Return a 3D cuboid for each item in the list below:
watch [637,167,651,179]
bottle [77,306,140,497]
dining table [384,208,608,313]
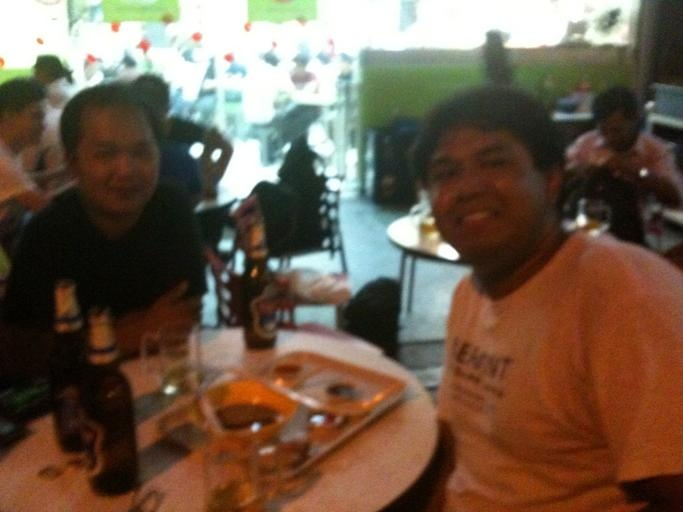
[{"bbox_3d":[1.371,-0.376,2.621,0.056,0.055,0.012,-3,-5,41],"label":"watch"},{"bbox_3d":[-0.490,0.280,1.202,0.105,0.361,0.223,-7,14,-21],"label":"bottle"},{"bbox_3d":[0.632,0.157,2.835,0.755,0.459,0.739,2,36,8],"label":"dining table"}]
